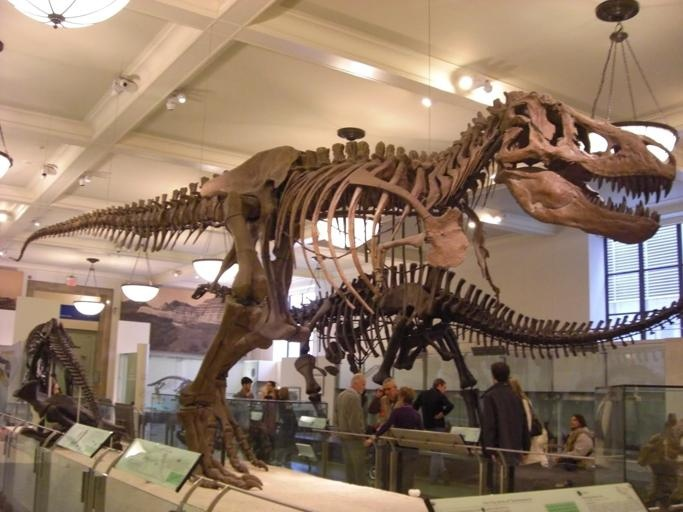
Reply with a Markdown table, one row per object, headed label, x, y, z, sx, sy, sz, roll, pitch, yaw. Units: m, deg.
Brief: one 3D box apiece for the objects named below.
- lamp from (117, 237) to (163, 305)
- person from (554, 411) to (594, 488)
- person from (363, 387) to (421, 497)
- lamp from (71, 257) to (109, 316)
| label | x | y | z | sx | sy | sz | roll | pitch | yaw |
| --- | --- | --- | --- | --- | --- | --- | --- | --- | --- |
| lamp | -4.176 | 0.344 | 12.150 | 0.773 | 1.503 | 0.758 | 14 | 23 | 7 |
| person | 2.458 | 2.049 | 6.199 | 0.391 | 0.704 | 0.374 | 13 | -16 | -14 |
| person | 0.579 | 1.843 | 5.765 | 0.669 | 1.104 | 0.354 | -1 | 9 | -22 |
| lamp | -6.305 | 0.762 | 14.749 | 0.700 | 1.428 | 0.751 | 3 | 3 | 4 |
